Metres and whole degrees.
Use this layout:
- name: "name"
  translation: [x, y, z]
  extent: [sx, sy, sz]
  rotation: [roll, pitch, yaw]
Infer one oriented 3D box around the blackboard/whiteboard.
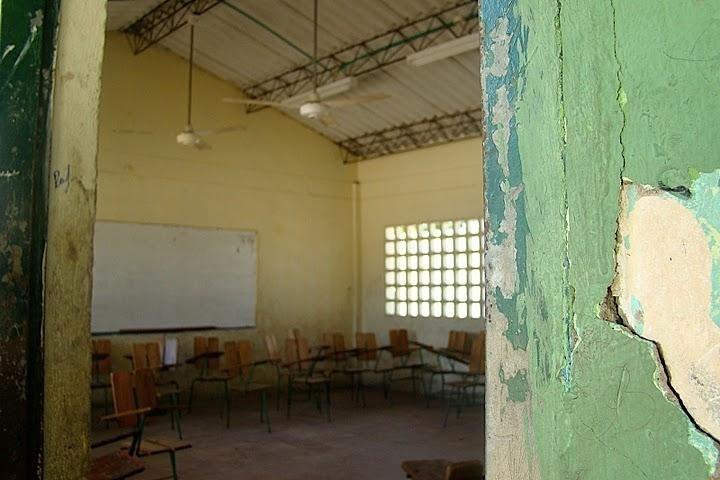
- name: "blackboard/whiteboard"
  translation: [-2.498, 0.489, 8.056]
  extent: [1.869, 1.409, 0.419]
  rotation: [4, -8, -33]
